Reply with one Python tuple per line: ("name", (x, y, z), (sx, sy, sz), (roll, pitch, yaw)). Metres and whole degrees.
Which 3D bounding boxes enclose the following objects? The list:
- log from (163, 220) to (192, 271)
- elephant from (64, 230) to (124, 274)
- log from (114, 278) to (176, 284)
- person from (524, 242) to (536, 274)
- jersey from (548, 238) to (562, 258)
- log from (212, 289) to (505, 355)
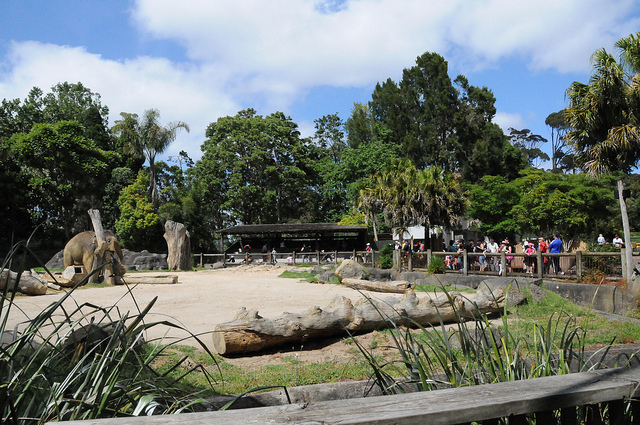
("log", (-8.227, 1.947, 29.130), (1.456, 2.854, 1.160), (3, -8, -17))
("elephant", (-8.453, 1.264, 18.629), (2.584, 1.832, 1.743), (-2, 0, -14))
("log", (-6.814, 2.725, 20.007), (2.057, 0.243, 0.856), (-1, -9, 11))
("person", (7.152, 1.566, 17.219), (0.342, 1.137, 2.430), (-2, -9, 22))
("jersey", (7.734, 1.071, 16.611), (0.318, 0.470, 0.613), (-2, -9, 19))
("log", (0.971, 2.020, 9.914), (5.899, 0.901, 0.867), (-4, -14, -21))
